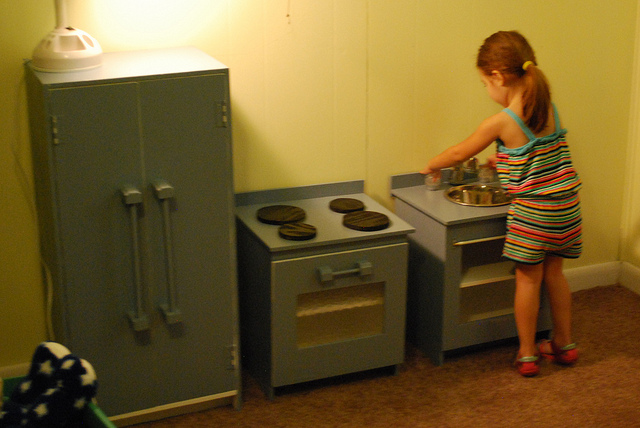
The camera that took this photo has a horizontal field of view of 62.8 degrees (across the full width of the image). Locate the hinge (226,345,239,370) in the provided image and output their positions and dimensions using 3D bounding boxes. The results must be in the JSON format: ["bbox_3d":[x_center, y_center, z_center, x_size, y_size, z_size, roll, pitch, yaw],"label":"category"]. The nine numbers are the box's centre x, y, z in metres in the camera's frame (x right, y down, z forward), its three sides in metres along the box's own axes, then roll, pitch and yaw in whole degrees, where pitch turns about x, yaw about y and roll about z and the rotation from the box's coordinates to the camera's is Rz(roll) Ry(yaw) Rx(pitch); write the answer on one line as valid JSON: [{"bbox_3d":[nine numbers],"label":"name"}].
[{"bbox_3d":[-0.470,0.765,2.805,0.076,0.147,0.006,-12,19,-15],"label":"hinge"}]

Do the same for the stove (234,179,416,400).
[{"bbox_3d":[0.022,0.429,3.156,0.948,0.980,0.753,-5,18,-19],"label":"stove"}]

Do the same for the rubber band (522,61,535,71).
[{"bbox_3d":[1.096,-0.781,2.758,0.048,0.047,0.012,46,5,41],"label":"rubber band"}]

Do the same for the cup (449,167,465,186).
[{"bbox_3d":[0.890,-0.242,3.401,0.120,0.104,0.087,2,9,16],"label":"cup"}]

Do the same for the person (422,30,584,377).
[{"bbox_3d":[1.074,-0.031,3.285,1.030,1.834,0.797,-2,7,16],"label":"person"}]
